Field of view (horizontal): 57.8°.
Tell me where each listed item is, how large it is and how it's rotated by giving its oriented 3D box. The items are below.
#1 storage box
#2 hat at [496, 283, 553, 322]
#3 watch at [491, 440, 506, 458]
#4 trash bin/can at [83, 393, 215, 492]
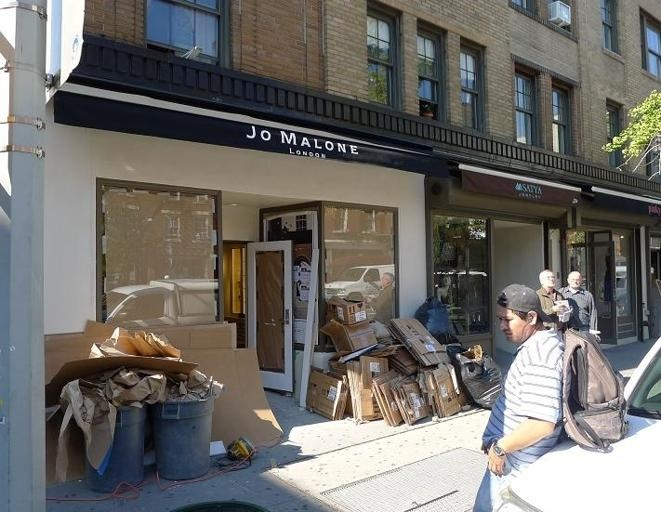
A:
[{"bbox_3d":[0.275,0.966,9.041,0.844,0.893,0.759,-7,2,-39],"label":"storage box"},{"bbox_3d":[1.390,0.317,4.273,0.321,0.210,0.238,15,5,-4],"label":"hat"},{"bbox_3d":[1.147,1.333,4.116,0.113,0.120,0.073,17,-55,-43],"label":"watch"},{"bbox_3d":[-1.821,1.873,6.182,0.971,0.685,0.784,-4,-9,-16],"label":"trash bin/can"}]
